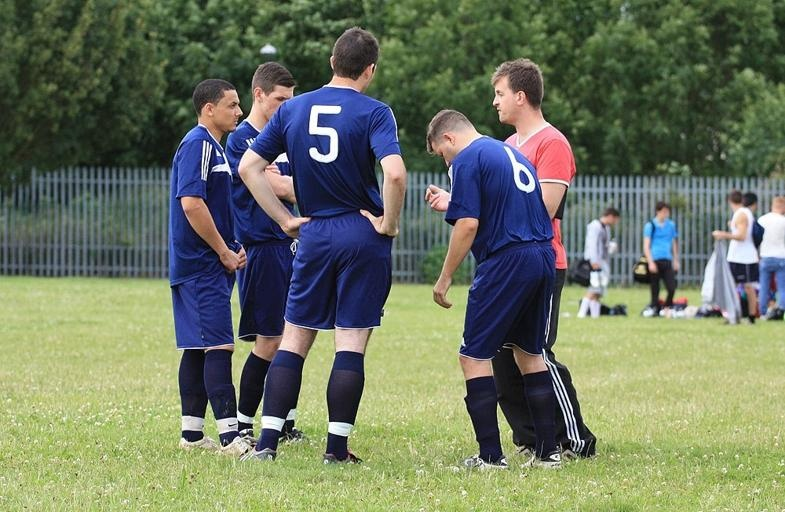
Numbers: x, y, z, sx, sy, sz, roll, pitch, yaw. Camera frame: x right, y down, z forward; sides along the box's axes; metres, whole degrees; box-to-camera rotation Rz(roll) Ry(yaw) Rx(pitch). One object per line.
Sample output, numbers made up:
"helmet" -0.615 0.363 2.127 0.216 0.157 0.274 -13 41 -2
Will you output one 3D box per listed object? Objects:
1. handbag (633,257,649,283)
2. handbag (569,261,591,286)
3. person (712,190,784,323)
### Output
"handbag" 5.024 0.336 28.389 0.304 0.477 0.456 0 -18 21
"handbag" 4.227 0.400 31.558 0.438 0.374 0.656 19 15 -4
"person" 6.295 0.002 25.285 0.701 2.380 0.681 1 1 16
